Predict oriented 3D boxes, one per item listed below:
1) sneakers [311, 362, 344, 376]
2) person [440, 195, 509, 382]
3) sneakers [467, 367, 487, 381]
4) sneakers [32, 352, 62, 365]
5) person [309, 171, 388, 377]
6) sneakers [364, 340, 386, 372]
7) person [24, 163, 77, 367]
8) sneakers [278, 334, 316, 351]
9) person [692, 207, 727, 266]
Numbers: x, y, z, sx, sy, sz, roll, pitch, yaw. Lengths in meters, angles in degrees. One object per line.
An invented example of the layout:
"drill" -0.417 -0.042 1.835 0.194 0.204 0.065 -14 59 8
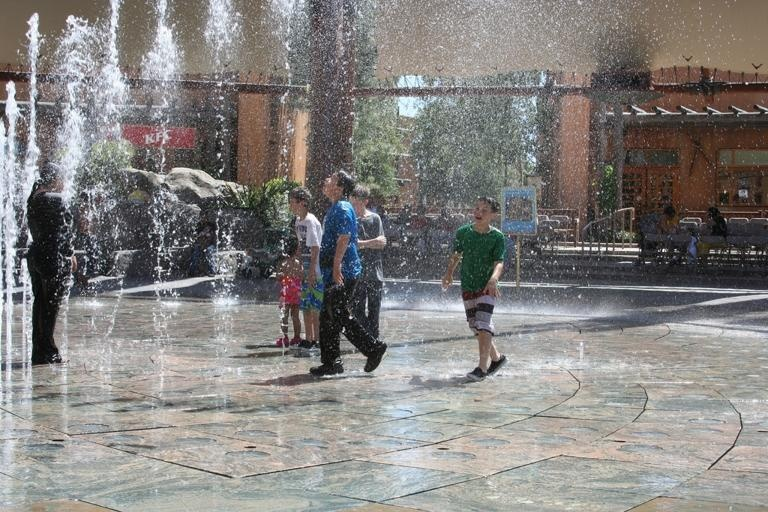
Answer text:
"sneakers" -0.682 1.368 11.376 0.391 0.181 0.147 5 -5 -9
"person" 1.129 0.367 11.507 0.742 2.145 0.904 1 2 7
"sneakers" 1.103 1.398 11.139 0.272 0.136 0.101 2 6 29
"sneakers" -4.154 1.270 11.647 0.360 0.128 0.162 0 2 -23
"person" -0.494 0.195 11.427 0.805 2.463 0.634 0 2 -15
"sneakers" -0.106 1.254 11.411 0.192 0.475 0.167 13 37 -10
"person" -4.168 0.090 11.799 0.564 2.466 0.510 0 2 -22
"sneakers" -1.245 1.219 13.186 0.559 0.255 0.209 2 -6 24
"person" 8.475 -0.497 24.461 0.760 1.497 1.197 2 2 20
